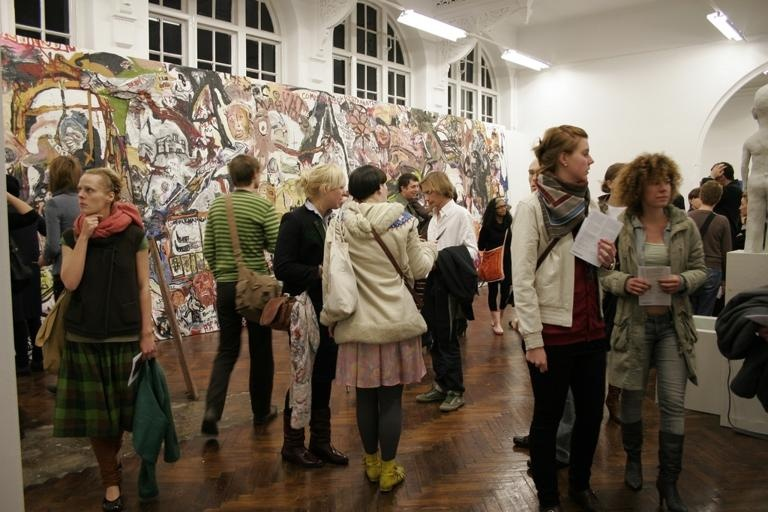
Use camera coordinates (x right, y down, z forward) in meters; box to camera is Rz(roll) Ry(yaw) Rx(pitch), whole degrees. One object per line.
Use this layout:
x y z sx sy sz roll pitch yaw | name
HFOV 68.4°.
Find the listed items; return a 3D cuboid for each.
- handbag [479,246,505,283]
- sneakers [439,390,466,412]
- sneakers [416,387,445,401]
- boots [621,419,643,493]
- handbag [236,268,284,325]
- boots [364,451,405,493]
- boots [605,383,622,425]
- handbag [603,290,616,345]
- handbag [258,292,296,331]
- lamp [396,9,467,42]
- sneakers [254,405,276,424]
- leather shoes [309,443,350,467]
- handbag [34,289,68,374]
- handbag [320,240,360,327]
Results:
1.508 0.098 7.967 0.196 0.418 0.457 7 2 -29 | handbag
0.677 1.458 5.655 0.110 0.153 0.321 -5 -10 27 | sneakers
0.497 1.439 5.903 0.302 0.141 0.125 2 -4 -11 | sneakers
1.939 1.501 4.387 0.161 0.547 0.246 6 11 33 | boots
-1.027 0.336 4.700 0.306 0.203 0.384 33 30 -17 | handbag
0.013 1.645 4.509 0.169 0.389 0.388 3 16 29 | boots
2.202 1.410 5.449 0.106 0.111 0.383 6 52 13 | boots
1.769 0.481 4.478 0.132 0.404 0.285 2 -9 10 | handbag
-0.842 0.433 4.466 0.282 0.303 0.207 13 -11 -26 | handbag
0.917 -4.374 10.566 0.529 0.296 1.609 8 14 40 | lamp
-1.124 1.530 5.419 0.087 0.119 0.274 2 7 20 | sneakers
-0.442 1.644 4.736 0.352 0.150 0.135 15 8 22 | leather shoes
-2.435 0.571 4.177 0.240 0.647 0.340 -7 11 -34 | handbag
-0.332 0.207 4.179 0.285 0.636 0.255 0 9 1 | handbag
